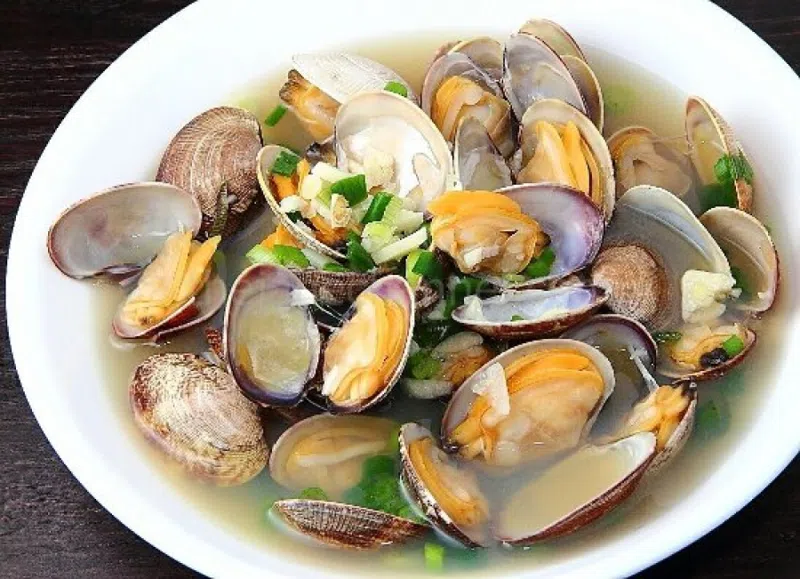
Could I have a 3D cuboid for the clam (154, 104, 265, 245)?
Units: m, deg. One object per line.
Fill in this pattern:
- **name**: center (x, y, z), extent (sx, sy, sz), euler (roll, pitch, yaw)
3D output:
- **clam**: center (-0.781, -0.463, 2.976), extent (0.434, 0.208, 0.634), euler (15, 71, -16)
